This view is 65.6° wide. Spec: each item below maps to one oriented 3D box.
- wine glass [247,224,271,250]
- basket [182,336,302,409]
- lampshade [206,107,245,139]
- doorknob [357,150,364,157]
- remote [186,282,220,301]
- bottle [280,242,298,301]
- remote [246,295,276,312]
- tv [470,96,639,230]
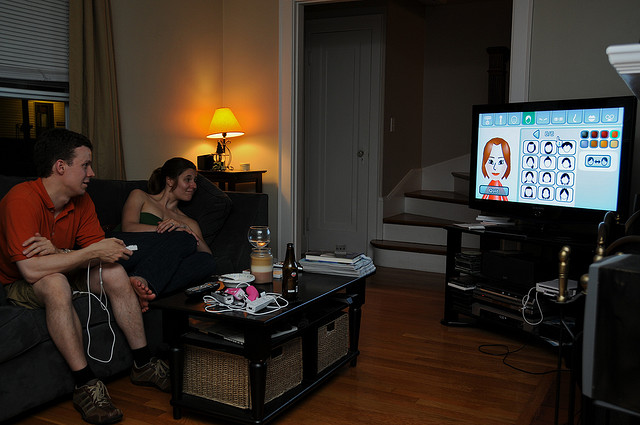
[{"bbox_3d":[-0.344,0.139,2.879,0.149,0.152,0.145,0,-1,-6],"label":"wine glass"},{"bbox_3d":[-0.369,0.780,2.669,0.412,0.241,0.408,2,2,26],"label":"basket"},{"bbox_3d":[-0.950,-0.901,5.027,0.372,0.322,0.361,-2,12,-13],"label":"lampshade"},{"bbox_3d":[0.467,-0.686,5.729,0.066,0.063,0.015,5,4,20],"label":"doorknob"},{"bbox_3d":[-0.622,0.426,2.685,0.066,0.036,0.126,10,16,39],"label":"remote"},{"bbox_3d":[-0.163,0.318,2.659,0.083,0.266,0.167,0,12,-5],"label":"bottle"},{"bbox_3d":[-0.291,0.455,2.517,0.060,0.024,0.110,11,18,32],"label":"remote"},{"bbox_3d":[1.652,-0.346,3.442,1.004,0.714,0.079,5,6,42],"label":"tv"}]
